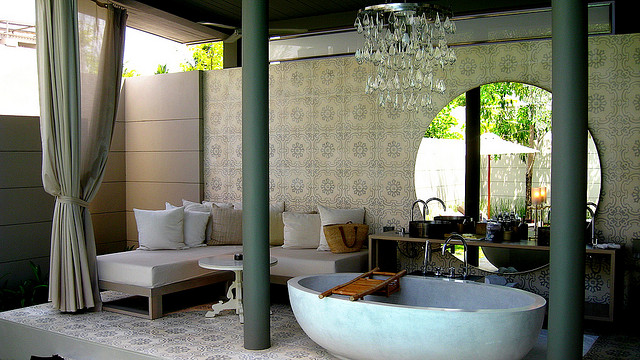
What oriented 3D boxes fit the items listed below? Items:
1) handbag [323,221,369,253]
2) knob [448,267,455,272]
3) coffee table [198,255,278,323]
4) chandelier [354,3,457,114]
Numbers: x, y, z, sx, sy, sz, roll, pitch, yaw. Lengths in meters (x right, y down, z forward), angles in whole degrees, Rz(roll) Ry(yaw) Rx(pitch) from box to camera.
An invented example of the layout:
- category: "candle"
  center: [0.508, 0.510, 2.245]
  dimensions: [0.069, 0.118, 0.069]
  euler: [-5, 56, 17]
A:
- category: "handbag"
  center: [0.397, 0.944, 6.744]
  dimensions: [0.872, 0.471, 0.408]
  euler: [2, -11, -32]
- category: "knob"
  center: [1.679, 1.138, 5.300]
  dimensions: [0.091, 0.076, 0.085]
  euler: [2, -4, -18]
- category: "coffee table"
  center: [-1.188, 1.566, 6.005]
  dimensions: [1.072, 0.703, 1.023]
  euler: [5, -19, -26]
- category: "chandelier"
  center: [1.302, -1.779, 6.019]
  dimensions: [1.561, 1.597, 2.501]
  euler: [1, 8, 6]
